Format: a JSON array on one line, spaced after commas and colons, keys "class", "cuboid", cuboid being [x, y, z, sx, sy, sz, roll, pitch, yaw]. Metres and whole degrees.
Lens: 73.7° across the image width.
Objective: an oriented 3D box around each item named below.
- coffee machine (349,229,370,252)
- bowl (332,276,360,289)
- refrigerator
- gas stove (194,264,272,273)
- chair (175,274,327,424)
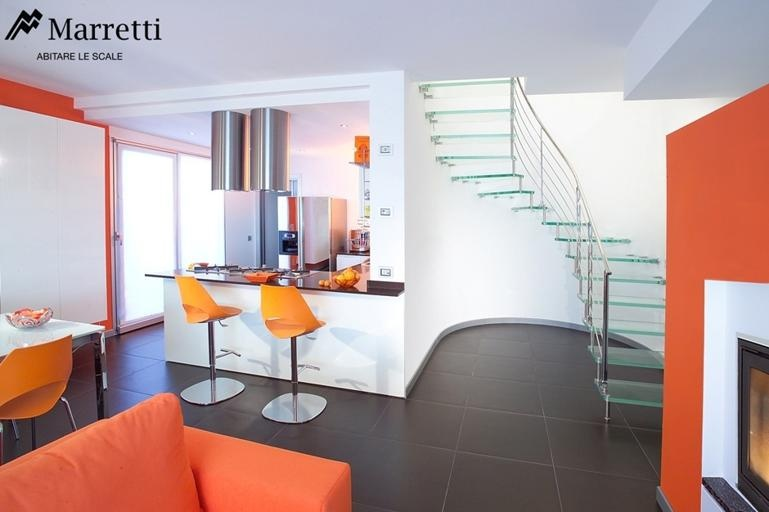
[{"class": "coffee machine", "cuboid": [-0.418, -0.248, 8.577, 0.359, 0.421, 0.367, 0, 0, 12]}, {"class": "bowl", "cuboid": [-0.427, 0.281, 5.757, 0.251, 0.121, 0.272, 0, 4, 0]}, {"class": "refrigerator", "cuboid": [-1.170, -0.378, 8.386, 1.111, 1.159, 0.653, -1, 5, -10]}, {"class": "gas stove", "cuboid": [-1.982, 0.144, 6.575, 1.169, 0.084, 0.438, 1, 4, 11]}, {"class": "chair", "cuboid": [-1.389, 1.016, 5.539, 1.310, 0.979, 0.555, 4, 9, 23]}]
